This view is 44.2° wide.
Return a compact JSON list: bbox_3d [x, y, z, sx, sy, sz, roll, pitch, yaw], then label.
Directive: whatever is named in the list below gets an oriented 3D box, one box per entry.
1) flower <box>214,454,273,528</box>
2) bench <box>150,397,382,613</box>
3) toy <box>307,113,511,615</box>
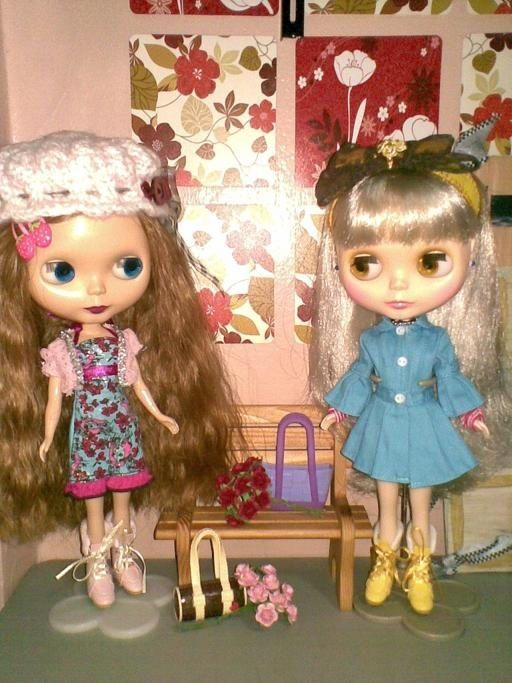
[{"bbox_3d":[-0.043,0.528,2.175,0.250,0.135,0.202,-19,-6,-30],"label":"flower"},{"bbox_3d":[0.031,0.568,2.278,0.903,0.614,0.401,-1,2,0],"label":"bench"},{"bbox_3d":[0.505,0.123,2.114,0.705,1.613,0.499,-2,19,11],"label":"toy"}]
